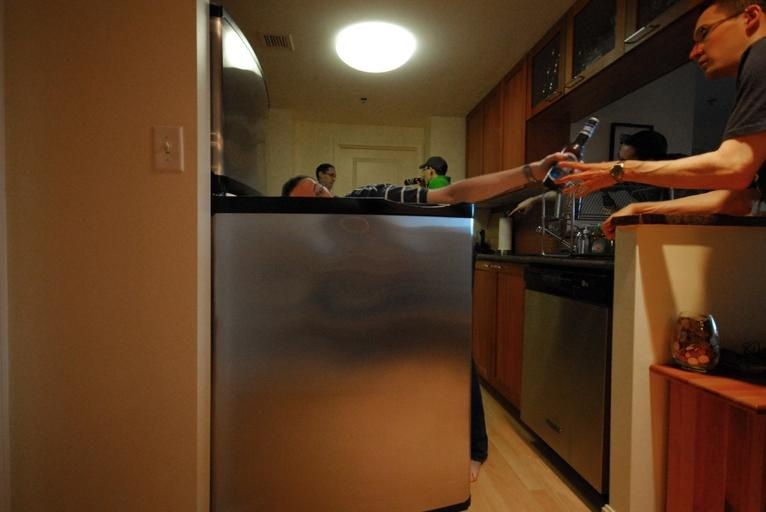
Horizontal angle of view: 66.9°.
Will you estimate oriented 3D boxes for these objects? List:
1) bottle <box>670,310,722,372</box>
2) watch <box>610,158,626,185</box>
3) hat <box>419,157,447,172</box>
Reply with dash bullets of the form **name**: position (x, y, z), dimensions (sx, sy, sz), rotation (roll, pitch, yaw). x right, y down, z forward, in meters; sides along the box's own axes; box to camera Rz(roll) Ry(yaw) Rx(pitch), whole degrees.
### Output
- **bottle**: position (1.327, 0.348, 2.441), dimensions (0.177, 0.260, 0.186), rotation (-6, 8, 1)
- **watch**: position (0.997, -0.355, 2.436), dimensions (0.052, 0.092, 0.085), rotation (2, -5, 40)
- **hat**: position (0.381, -0.658, 4.228), dimensions (0.192, 0.109, 0.139), rotation (9, 10, 41)
